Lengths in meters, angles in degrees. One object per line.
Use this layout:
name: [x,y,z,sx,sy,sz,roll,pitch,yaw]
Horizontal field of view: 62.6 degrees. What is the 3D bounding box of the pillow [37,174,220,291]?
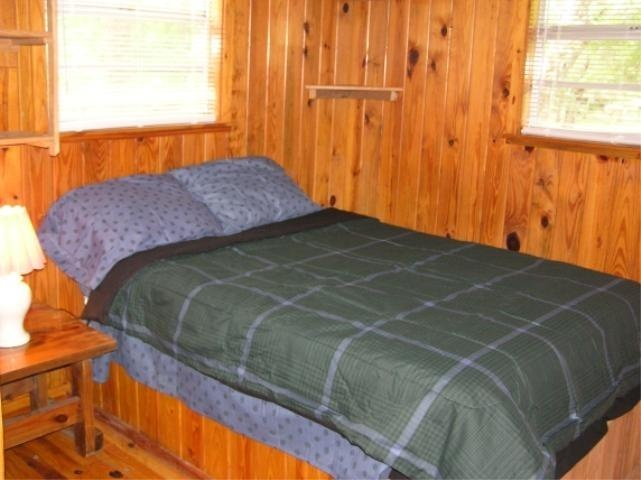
pillow: [-1.026,-0.082,2.637,0.859,0.213,0.619,-29,62,-37]
